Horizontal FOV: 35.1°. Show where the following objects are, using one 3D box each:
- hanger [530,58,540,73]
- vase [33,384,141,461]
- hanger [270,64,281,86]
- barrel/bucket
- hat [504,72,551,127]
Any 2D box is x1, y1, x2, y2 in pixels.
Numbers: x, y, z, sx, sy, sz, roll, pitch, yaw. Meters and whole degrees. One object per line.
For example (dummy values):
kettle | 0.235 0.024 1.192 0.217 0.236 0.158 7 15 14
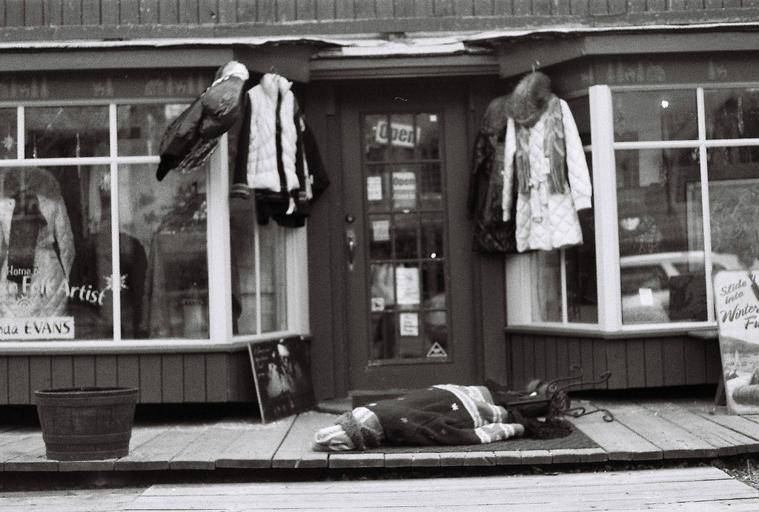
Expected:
hanger | 1.389 -1.713 10.799 0.111 0.105 0.027 8 8 21
vase | -2.366 1.365 9.834 0.669 0.581 0.640 0 -2 -14
hanger | -0.917 -1.619 10.698 0.064 0.163 0.058 -11 -5 -20
barrel/bucket | -2.311 1.338 9.679 0.602 0.388 0.595 1 -5 0
hat | 1.332 -1.400 10.766 0.294 0.472 0.368 1 5 -14
